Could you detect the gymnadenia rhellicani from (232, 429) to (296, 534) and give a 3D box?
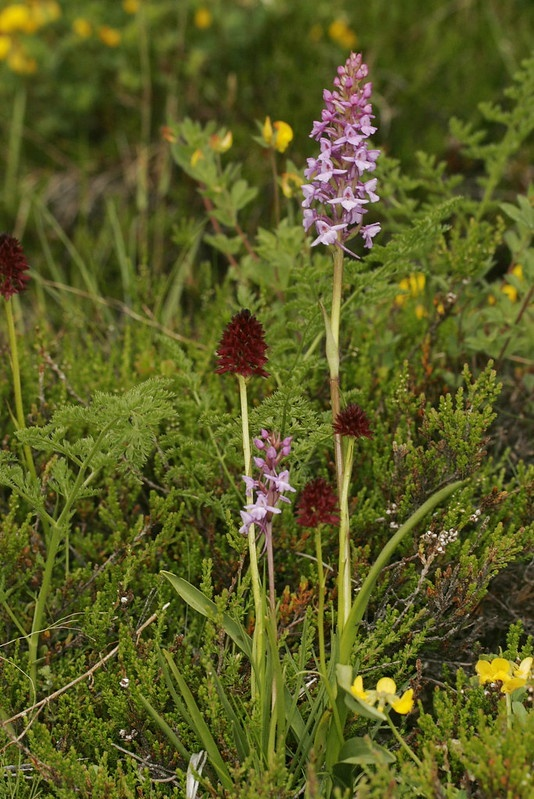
[{"bbox_3d":[-0.005,0.151,1.518,0.130,0.252,0.104,-11,50,-18],"label":"gymnadenia rhellicani"}]

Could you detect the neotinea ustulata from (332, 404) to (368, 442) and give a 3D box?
[{"bbox_3d":[0.154,0.039,1.419,0.062,0.060,0.061,5,11,17],"label":"neotinea ustulata"}]

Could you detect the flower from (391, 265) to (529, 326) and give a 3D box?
[{"bbox_3d":[0.611,-0.352,2.609,0.447,0.136,0.317,-4,20,15],"label":"flower"}]

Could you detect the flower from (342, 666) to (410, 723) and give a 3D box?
[{"bbox_3d":[0.197,0.506,1.370,0.135,0.044,0.138,5,-5,-39],"label":"flower"}]

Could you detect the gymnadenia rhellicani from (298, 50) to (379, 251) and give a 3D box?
[{"bbox_3d":[0.129,-0.441,1.479,0.125,0.438,0.092,-9,11,-12],"label":"gymnadenia rhellicani"}]

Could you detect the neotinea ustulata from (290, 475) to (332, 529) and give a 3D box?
[{"bbox_3d":[0.081,0.172,1.320,0.069,0.089,0.090,-12,36,2],"label":"neotinea ustulata"}]
